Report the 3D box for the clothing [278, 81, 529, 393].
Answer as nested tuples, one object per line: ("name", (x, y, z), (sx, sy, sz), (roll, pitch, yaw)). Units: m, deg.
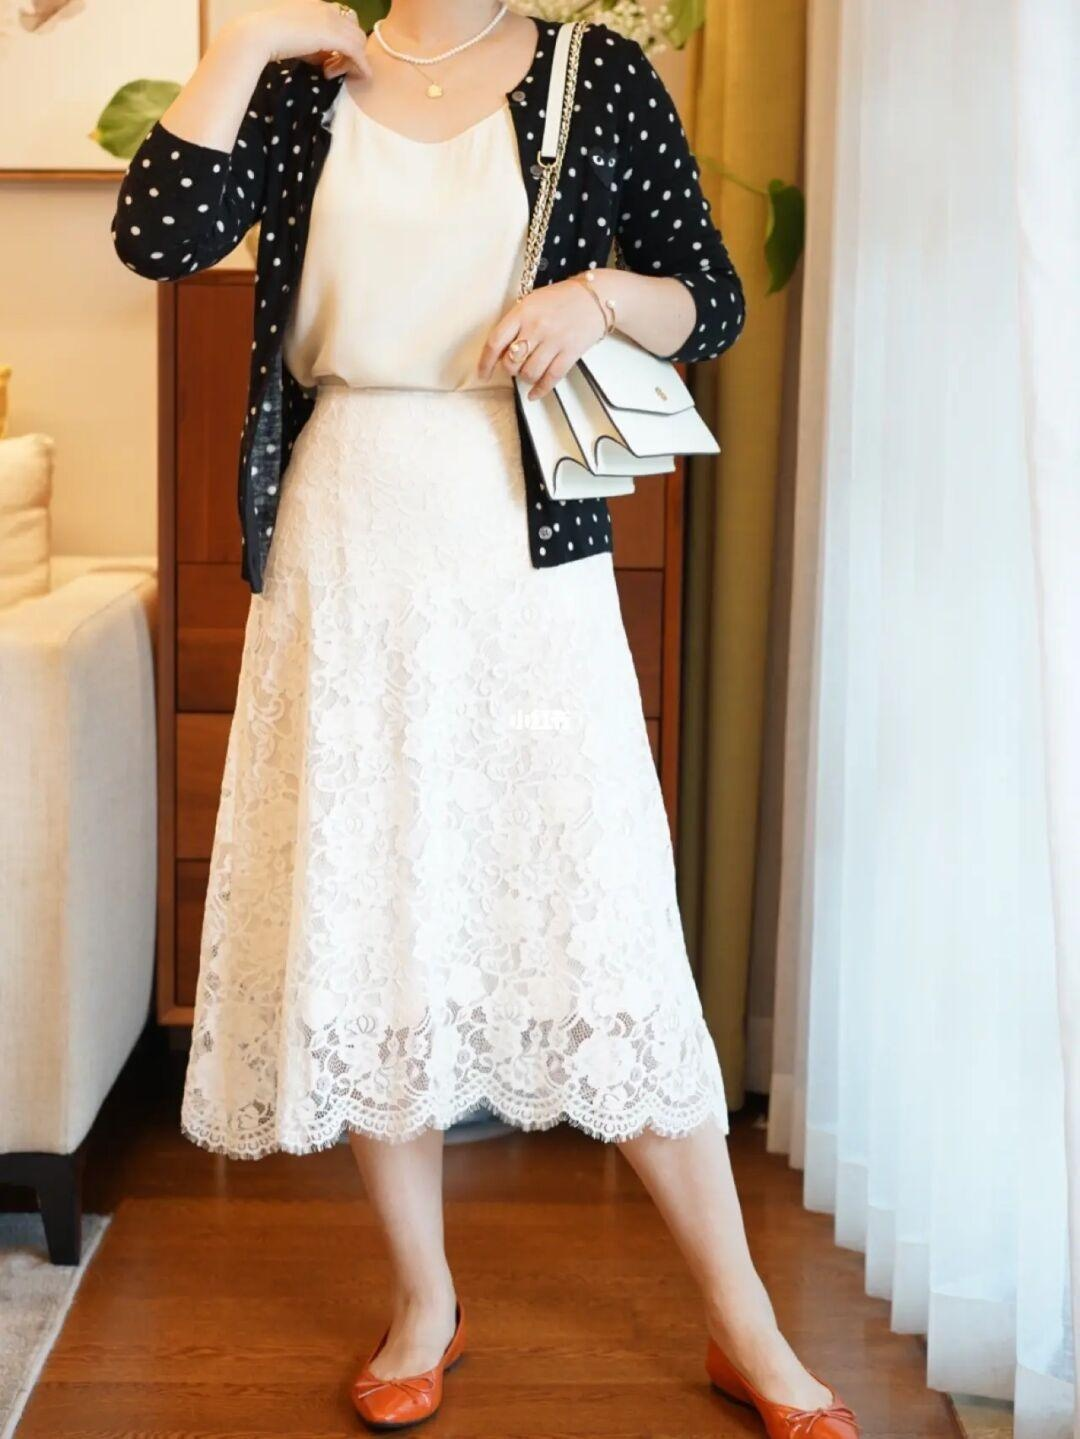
("clothing", (-0.100, -0.376, 1.090), (0.226, 0.291, 0.159), (2, 8, 0))
